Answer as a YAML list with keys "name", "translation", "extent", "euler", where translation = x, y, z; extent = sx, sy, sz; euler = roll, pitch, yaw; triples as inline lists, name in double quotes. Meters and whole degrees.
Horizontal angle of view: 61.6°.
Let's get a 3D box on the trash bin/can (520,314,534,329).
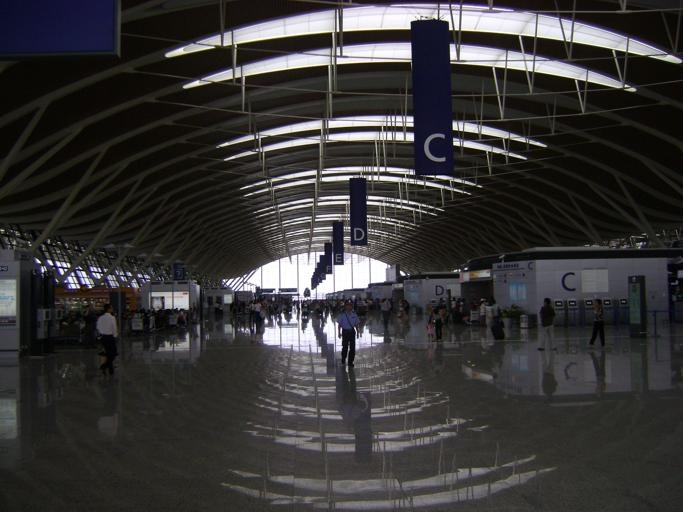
- name: "trash bin/can"
  translation: [10.550, 3.755, 32.437]
  extent: [0.817, 0.833, 0.806]
  euler: [-2, 2, -12]
